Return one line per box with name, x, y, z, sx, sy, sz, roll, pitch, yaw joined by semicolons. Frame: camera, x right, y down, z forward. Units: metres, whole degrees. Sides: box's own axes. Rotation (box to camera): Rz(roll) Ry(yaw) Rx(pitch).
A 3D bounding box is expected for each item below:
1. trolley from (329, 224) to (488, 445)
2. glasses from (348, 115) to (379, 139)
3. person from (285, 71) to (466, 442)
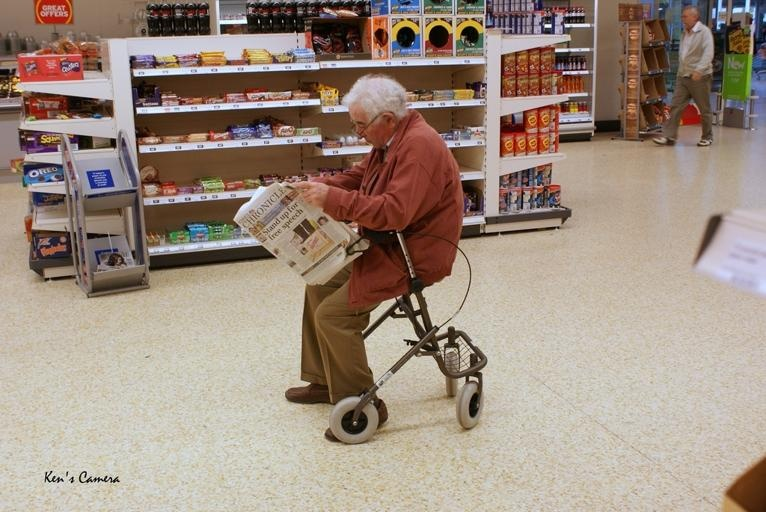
trolley;0.091;0.356;3.234;1.019;1.123;0.787;1;14;6
glasses;-0.115;-0.669;2.982;0.111;0.116;0.214;-16;22;-25
person;-0.043;-0.001;3.203;0.992;1.796;0.846;-6;11;-23
